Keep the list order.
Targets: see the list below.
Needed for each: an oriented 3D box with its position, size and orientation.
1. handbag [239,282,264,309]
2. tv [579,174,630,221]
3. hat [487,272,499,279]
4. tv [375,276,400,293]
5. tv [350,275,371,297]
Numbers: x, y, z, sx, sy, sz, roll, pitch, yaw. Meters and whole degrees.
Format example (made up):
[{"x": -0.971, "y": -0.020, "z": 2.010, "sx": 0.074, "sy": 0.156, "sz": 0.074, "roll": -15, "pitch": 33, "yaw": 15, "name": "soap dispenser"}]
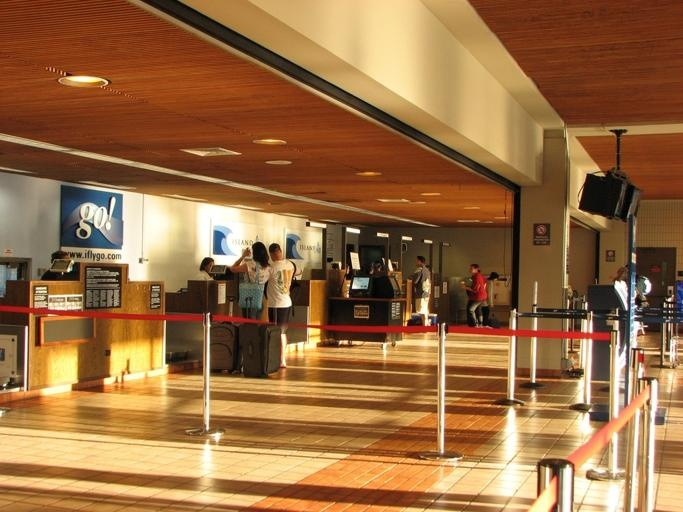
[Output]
[{"x": -1.474, "y": 0.637, "z": 9.163, "sx": 0.604, "sy": 0.499, "sz": 0.301, "roll": 1, "pitch": 0, "yaw": 5, "name": "handbag"}, {"x": 3.553, "y": -0.805, "z": 7.715, "sx": 0.771, "sy": 0.628, "sz": 0.524, "roll": 11, "pitch": -3, "yaw": 23, "name": "tv"}, {"x": 4.580, "y": 0.589, "z": 16.765, "sx": 0.345, "sy": 0.198, "sz": 0.425, "roll": -2, "pitch": -6, "yaw": 3, "name": "hat"}, {"x": 0.950, "y": 0.660, "z": 12.185, "sx": 0.541, "sy": 0.493, "sz": 0.594, "roll": 0, "pitch": -4, "yaw": 10, "name": "tv"}, {"x": 0.435, "y": 0.666, "z": 12.184, "sx": 0.517, "sy": 0.409, "sz": 0.248, "roll": -4, "pitch": -17, "yaw": 8, "name": "tv"}]
